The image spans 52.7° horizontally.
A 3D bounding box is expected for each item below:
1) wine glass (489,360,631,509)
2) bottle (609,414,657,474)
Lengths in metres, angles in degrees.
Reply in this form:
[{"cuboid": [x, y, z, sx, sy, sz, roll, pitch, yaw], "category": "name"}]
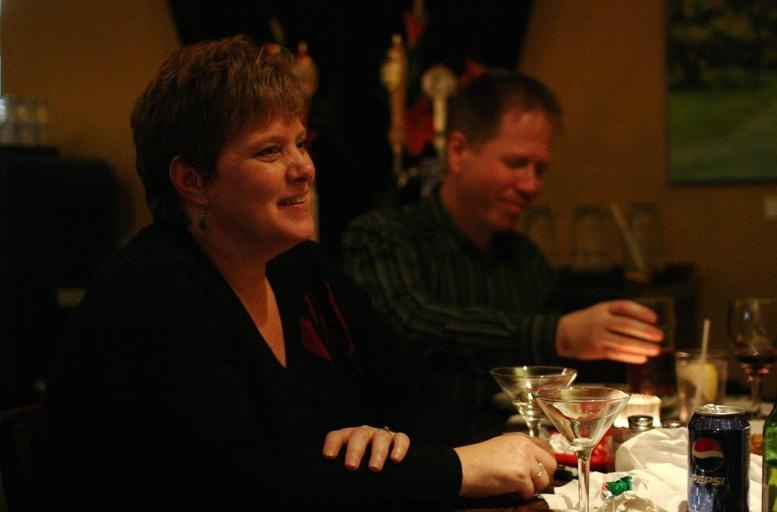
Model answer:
[{"cuboid": [0.440, 0.400, 1.913, 0.300, 0.336, 0.307, -2, -1, 35], "category": "wine glass"}, {"cuboid": [0.610, 0.446, 1.974, 0.127, 0.211, 0.137, -1, 1, 0], "category": "bottle"}]
